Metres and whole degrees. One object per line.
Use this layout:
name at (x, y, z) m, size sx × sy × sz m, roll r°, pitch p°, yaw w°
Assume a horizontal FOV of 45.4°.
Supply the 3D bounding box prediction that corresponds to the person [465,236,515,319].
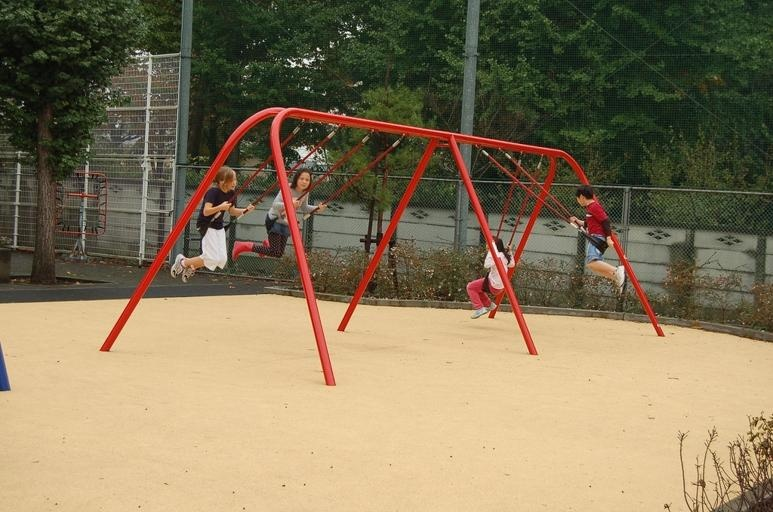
person at (1.838, 0.376, 15.934) m, size 0.867 × 1.422 × 0.639 m, roll 0°, pitch 0°, yaw 28°

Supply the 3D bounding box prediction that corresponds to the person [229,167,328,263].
person at (-1.804, -0.633, 15.797) m, size 1.398 × 1.892 × 0.743 m, roll 18°, pitch 9°, yaw 26°

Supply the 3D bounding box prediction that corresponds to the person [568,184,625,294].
person at (3.850, -0.338, 16.268) m, size 0.832 × 2.361 × 1.056 m, roll -1°, pitch -1°, yaw 0°
